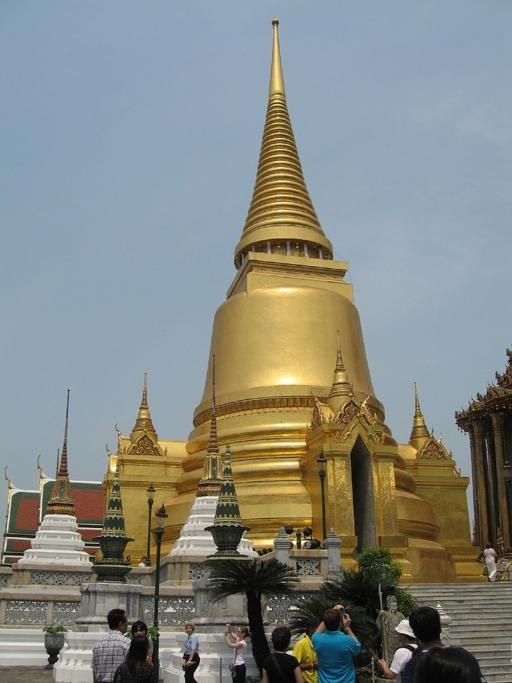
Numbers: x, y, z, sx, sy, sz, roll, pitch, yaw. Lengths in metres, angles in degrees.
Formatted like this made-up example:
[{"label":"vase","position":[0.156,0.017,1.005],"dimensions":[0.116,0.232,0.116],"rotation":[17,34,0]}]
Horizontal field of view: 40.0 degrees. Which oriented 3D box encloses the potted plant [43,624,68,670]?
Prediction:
[{"label":"potted plant","position":[-3.981,6.075,13.808],"dimensions":[0.525,0.651,0.513],"rotation":[-3,-35,0]}]
